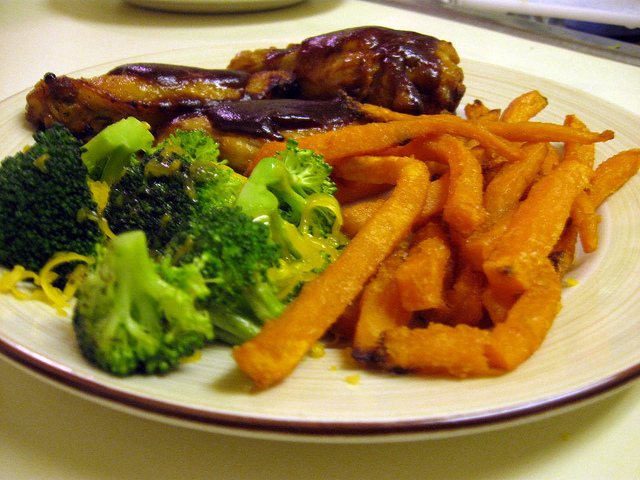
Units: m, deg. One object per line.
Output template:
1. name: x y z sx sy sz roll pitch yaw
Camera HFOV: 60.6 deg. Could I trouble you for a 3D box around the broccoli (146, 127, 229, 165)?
1. broccoli: -0.576 -0.390 2.349 0.278 0.119 0.244 5 2 28
